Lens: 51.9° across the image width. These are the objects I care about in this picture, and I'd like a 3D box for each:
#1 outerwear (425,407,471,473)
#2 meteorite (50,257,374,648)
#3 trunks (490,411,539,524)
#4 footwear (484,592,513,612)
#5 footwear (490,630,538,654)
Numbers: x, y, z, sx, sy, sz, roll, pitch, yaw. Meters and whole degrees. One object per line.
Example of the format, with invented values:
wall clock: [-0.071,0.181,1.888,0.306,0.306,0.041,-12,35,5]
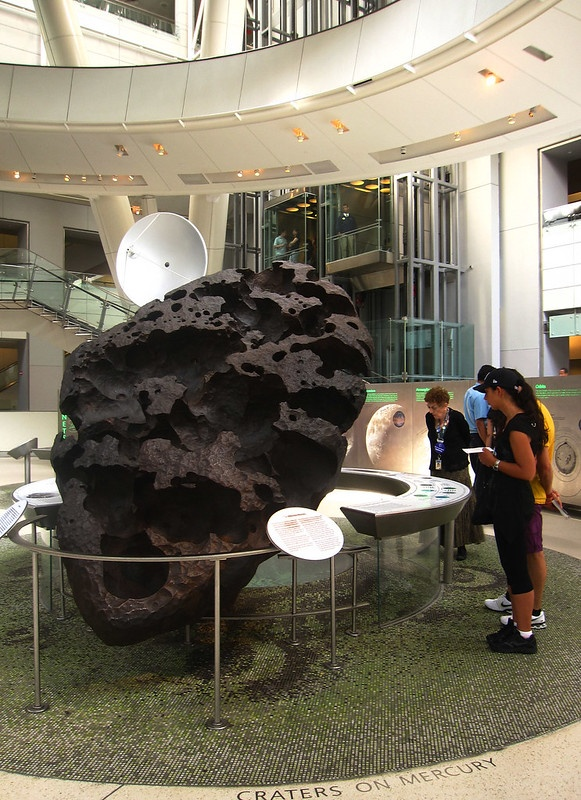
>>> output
outerwear: [1.608,0.411,6.051,0.414,0.664,0.360,-1,2,15]
meteorite: [-0.440,0.209,4.344,2.447,2.647,1.606,-5,6,-25]
trunks: [1.377,0.420,3.685,0.289,0.678,0.273,-1,2,30]
footwear: [1.589,1.538,4.594,0.270,0.126,0.098,1,-4,35]
footwear: [1.388,1.516,3.739,0.231,0.086,0.144,1,-5,11]
